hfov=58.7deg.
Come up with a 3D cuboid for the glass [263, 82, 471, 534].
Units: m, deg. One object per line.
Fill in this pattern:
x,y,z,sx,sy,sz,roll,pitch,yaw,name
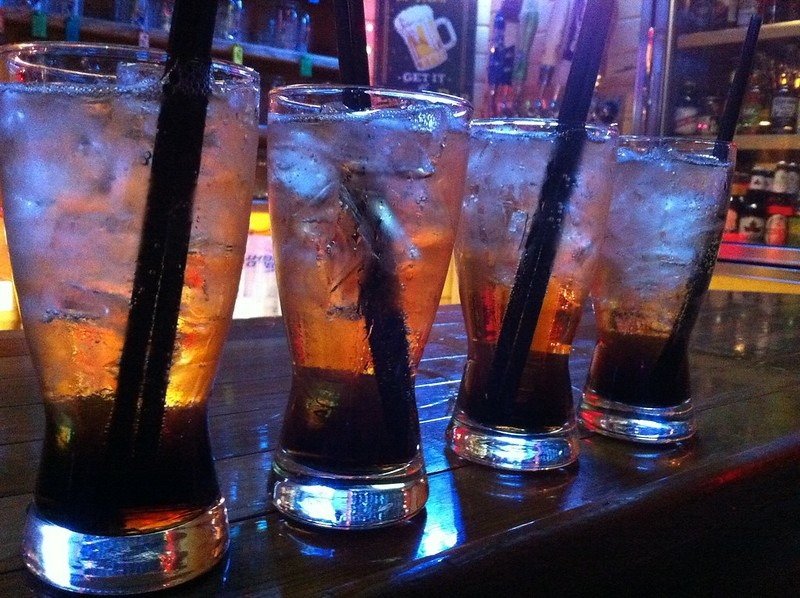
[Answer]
-0.033,0.001,0.666,0.186,0.385,0.179,2,17,-10,glass
